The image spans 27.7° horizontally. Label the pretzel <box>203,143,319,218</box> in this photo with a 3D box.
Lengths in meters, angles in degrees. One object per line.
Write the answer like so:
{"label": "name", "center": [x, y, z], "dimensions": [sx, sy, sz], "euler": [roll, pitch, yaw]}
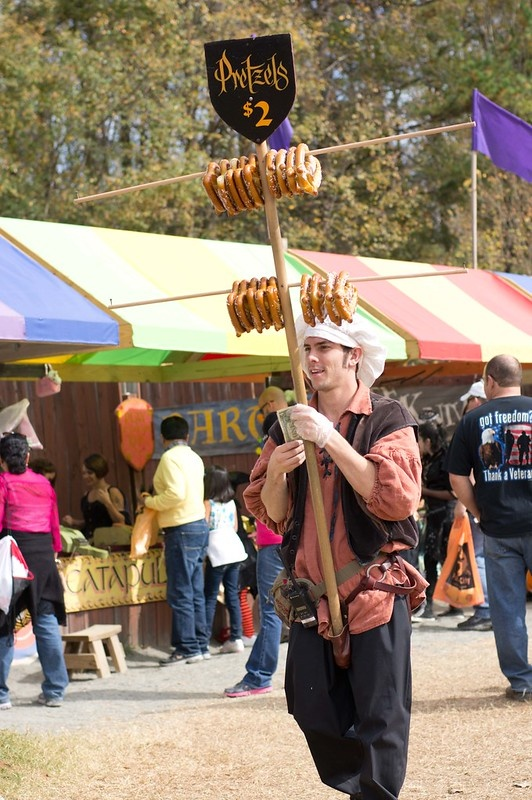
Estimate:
{"label": "pretzel", "center": [-0.026, -0.770, 3.805], "dimensions": [0.343, 0.129, 0.280], "euler": [-13, 5, 12]}

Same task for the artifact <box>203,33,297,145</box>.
{"label": "artifact", "center": [-0.054, -1.072, 3.783], "dimensions": [0.308, 0.268, 0.240], "euler": [-3, -2, 1]}

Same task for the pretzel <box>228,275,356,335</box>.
{"label": "pretzel", "center": [0.083, -0.328, 3.727], "dimensions": [0.374, 0.214, 0.115], "euler": [-1, 27, 3]}

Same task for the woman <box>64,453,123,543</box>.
{"label": "woman", "center": [-1.379, 0.794, 8.959], "dimensions": [0.485, 0.691, 0.742], "euler": [-3, -2, -27]}

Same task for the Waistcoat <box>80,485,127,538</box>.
{"label": "Waistcoat", "center": [-1.346, 0.930, 8.924], "dimensions": [0.451, 0.463, 0.303], "euler": [-6, -10, 27]}

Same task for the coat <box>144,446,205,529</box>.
{"label": "coat", "center": [-0.649, 0.632, 7.953], "dimensions": [0.463, 0.614, 0.314], "euler": [-3, -2, -18]}

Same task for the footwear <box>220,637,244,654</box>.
{"label": "footwear", "center": [-0.263, 1.950, 8.572], "dimensions": [0.186, 0.074, 0.090], "euler": [-3, -5, 21]}

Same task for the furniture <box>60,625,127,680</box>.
{"label": "furniture", "center": [-1.229, 1.799, 7.792], "dimensions": [0.326, 0.285, 0.460], "euler": [-5, -10, 18]}

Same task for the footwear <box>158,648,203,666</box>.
{"label": "footwear", "center": [-0.637, 1.932, 8.101], "dimensions": [0.324, 0.127, 0.101], "euler": [4, -9, -20]}
